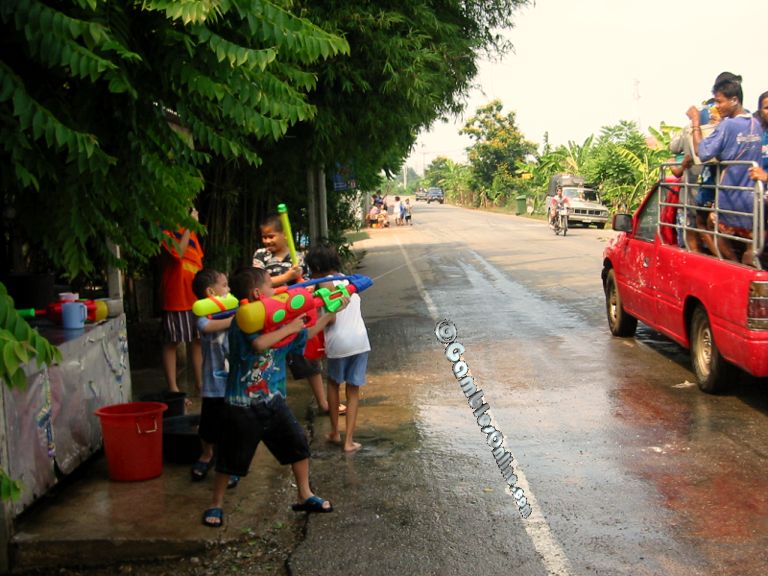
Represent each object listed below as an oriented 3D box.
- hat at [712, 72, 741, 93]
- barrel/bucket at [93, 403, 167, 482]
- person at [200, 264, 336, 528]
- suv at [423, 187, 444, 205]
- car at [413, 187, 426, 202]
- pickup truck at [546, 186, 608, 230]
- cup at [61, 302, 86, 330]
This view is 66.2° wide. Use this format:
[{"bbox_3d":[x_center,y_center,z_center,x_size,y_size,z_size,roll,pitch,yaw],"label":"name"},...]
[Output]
[{"bbox_3d":[3.883,-2.352,6.674,0.268,0.220,0.500,4,9,27],"label":"hat"},{"bbox_3d":[-1.857,1.138,4.475,0.561,0.490,0.516,0,3,0],"label":"barrel/bucket"},{"bbox_3d":[-0.764,0.737,3.845,0.875,1.736,0.632,-3,8,-20],"label":"person"},{"bbox_3d":[7.968,-14.640,91.447,1.905,1.982,3.472,-1,0,-6],"label":"suv"},{"bbox_3d":[6.338,-16.595,102.231,2.096,2.249,3.604,0,-1,-1],"label":"car"},{"bbox_3d":[11.014,-4.711,33.521,1.873,1.898,4.039,0,3,-3],"label":"pickup truck"},{"bbox_3d":[-2.431,0.204,4.611,0.140,0.241,0.196,-4,11,-34],"label":"cup"}]
